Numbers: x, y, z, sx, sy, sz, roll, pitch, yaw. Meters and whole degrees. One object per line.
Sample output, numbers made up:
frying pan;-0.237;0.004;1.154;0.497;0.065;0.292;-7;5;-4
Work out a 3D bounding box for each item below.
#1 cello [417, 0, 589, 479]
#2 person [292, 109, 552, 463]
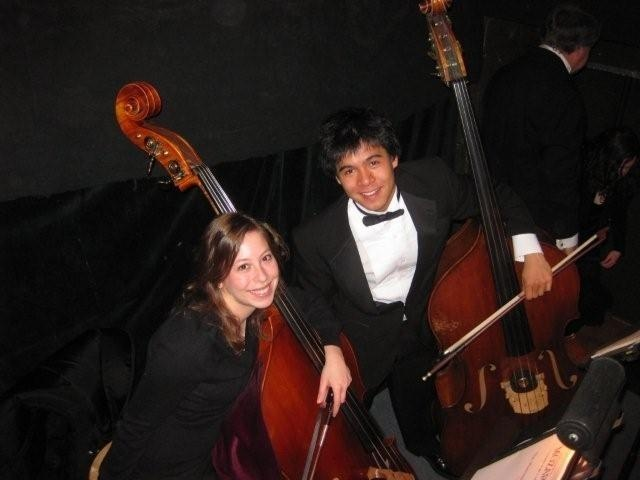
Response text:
cello;0.788;-0.030;2.513;0.821;1.797;0.550;-13;4;-8
person;0.390;0.365;2.597;0.894;1.891;0.597;-14;13;-28
